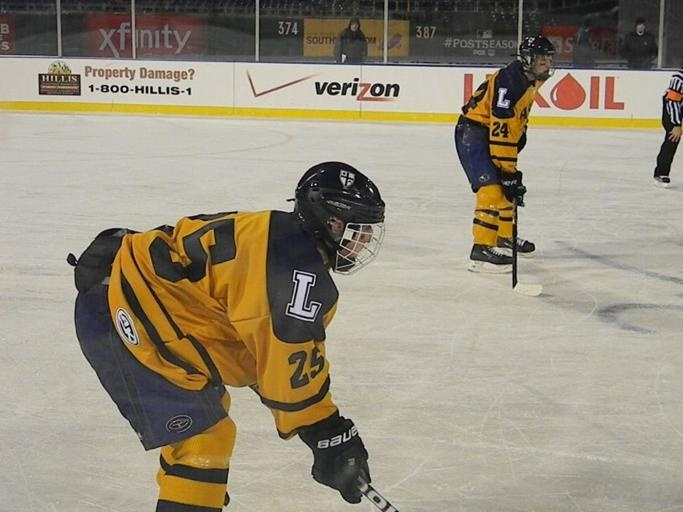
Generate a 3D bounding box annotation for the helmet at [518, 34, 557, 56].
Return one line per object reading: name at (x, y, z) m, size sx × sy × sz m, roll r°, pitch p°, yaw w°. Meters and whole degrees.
helmet at (1.361, -1.468, 7.093) m, size 0.233 × 0.144 × 0.171 m, roll 1°, pitch 26°, yaw 13°

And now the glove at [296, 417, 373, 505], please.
glove at (-0.032, 0.871, 4.509) m, size 0.286 × 0.395 × 0.162 m, roll -29°, pitch 18°, yaw 0°

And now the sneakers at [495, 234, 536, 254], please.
sneakers at (1.315, -0.090, 7.662) m, size 0.365 × 0.118 × 0.110 m, roll 4°, pitch 20°, yaw 6°

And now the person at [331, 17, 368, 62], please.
person at (0.165, -3.125, 14.717) m, size 0.386 × 0.636 × 0.337 m, roll -8°, pitch 16°, yaw -34°

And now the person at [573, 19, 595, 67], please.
person at (3.441, -3.020, 14.399) m, size 0.295 × 0.639 × 0.382 m, roll 3°, pitch 13°, yaw 10°

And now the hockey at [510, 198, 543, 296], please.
hockey at (1.291, -0.061, 7.043) m, size 0.231 × 0.598 × 0.492 m, roll 3°, pitch 13°, yaw 9°

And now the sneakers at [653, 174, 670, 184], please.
sneakers at (3.102, -0.738, 9.856) m, size 0.142 × 0.086 × 0.110 m, roll 3°, pitch 12°, yaw 11°
